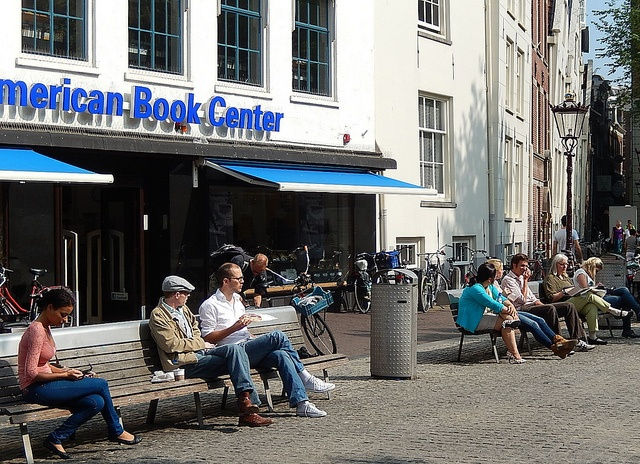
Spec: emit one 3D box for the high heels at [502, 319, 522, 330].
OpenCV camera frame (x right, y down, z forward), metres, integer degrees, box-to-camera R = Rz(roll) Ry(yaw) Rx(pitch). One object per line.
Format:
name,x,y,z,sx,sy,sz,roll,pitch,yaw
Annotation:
high heels,2.854,1.363,11.013,0.251,0.131,0.112,0,8,-7

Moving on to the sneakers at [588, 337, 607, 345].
sneakers,4.624,1.821,12.438,0.336,0.139,0.127,0,-2,1

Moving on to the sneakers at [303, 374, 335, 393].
sneakers,0.015,1.776,8.716,0.406,0.182,0.162,4,2,-9

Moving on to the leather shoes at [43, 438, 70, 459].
leather shoes,-2.484,2.036,6.989,0.208,0.085,0.071,35,20,1

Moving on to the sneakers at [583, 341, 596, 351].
sneakers,4.262,1.809,11.855,0.265,0.137,0.102,1,5,33

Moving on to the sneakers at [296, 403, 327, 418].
sneakers,-0.096,1.943,8.181,0.339,0.190,0.143,1,3,9

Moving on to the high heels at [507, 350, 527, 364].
high heels,2.888,1.856,11.030,0.117,0.192,0.333,-2,-1,-42

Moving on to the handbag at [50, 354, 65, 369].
handbag,-2.545,1.258,7.299,0.122,0.152,0.130,-10,-2,28

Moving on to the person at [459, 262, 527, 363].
person,2.497,1.226,11.090,0.948,1.360,0.390,-5,-2,17

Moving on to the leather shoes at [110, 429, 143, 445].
leather shoes,-1.865,1.989,7.230,0.318,0.152,0.123,1,6,-11

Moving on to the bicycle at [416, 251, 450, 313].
bicycle,2.756,1.152,18.126,0.834,1.146,1.777,-4,-6,20

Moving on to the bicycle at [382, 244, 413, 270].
bicycle,1.873,0.583,17.698,0.662,0.561,0.566,1,-1,6

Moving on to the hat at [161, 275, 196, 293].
hat,-1.512,0.551,7.899,0.248,0.137,0.202,-3,3,-11

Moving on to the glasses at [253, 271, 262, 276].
glasses,-0.995,0.647,11.870,0.059,0.075,0.072,-11,-6,-36
